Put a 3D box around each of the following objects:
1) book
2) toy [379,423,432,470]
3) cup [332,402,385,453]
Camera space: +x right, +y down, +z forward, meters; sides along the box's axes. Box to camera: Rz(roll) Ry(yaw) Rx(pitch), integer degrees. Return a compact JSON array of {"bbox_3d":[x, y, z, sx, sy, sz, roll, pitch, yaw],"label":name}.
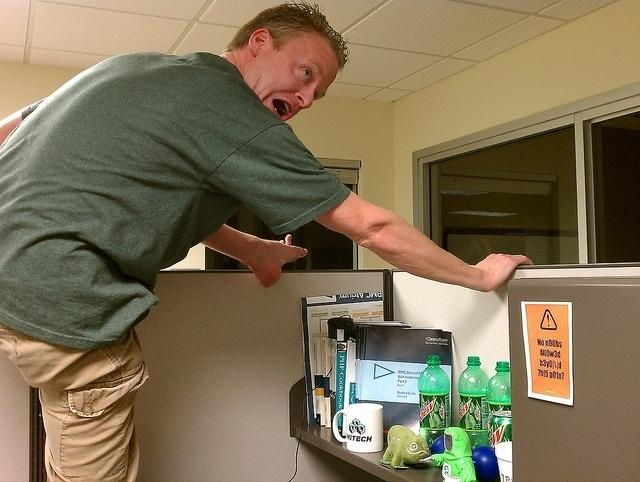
[{"bbox_3d":[0.237,0.311,1.467,0.364,0.508,0.379,0,-3,-33],"label":"book"},{"bbox_3d":[0.200,0.482,1.144,0.093,0.079,0.119,9,-9,-28],"label":"toy"},{"bbox_3d":[0.094,0.487,1.275,0.141,0.114,0.093,-6,-18,21],"label":"cup"}]
